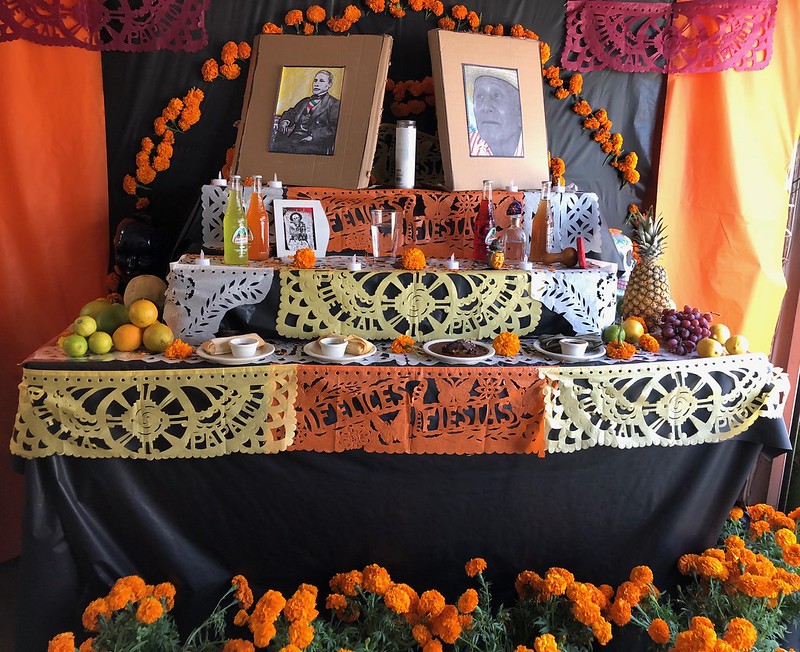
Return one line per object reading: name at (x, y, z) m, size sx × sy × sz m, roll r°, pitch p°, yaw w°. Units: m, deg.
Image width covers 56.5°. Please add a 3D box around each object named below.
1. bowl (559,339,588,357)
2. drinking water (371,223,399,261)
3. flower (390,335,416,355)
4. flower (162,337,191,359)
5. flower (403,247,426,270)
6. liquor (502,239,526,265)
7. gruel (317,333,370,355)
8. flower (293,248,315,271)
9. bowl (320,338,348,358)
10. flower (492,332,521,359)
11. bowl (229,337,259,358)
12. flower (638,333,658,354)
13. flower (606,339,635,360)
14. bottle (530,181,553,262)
bowl at (0.553, 0.058, 2.364) m, size 0.064 × 0.040 × 0.063 m, roll 2°, pitch 11°, yaw 0°
drinking water at (-0.052, -0.296, 2.622) m, size 0.113 × 0.134 × 0.117 m, roll 0°, pitch 4°, yaw 0°
flower at (0.009, 0.062, 2.377) m, size 0.057 × 0.034 × 0.059 m, roll 4°, pitch 25°, yaw 16°
flower at (-0.686, 0.068, 2.302) m, size 0.050 × 0.034 × 0.068 m, roll 1°, pitch 11°, yaw -2°
flower at (0.047, -0.223, 2.469) m, size 0.069 × 0.074 × 0.074 m, roll 4°, pitch 9°, yaw 14°
liquor at (0.404, -0.258, 2.610) m, size 0.089 × 0.100 × 0.091 m, roll 2°, pitch 7°, yaw 14°
gruel at (-0.162, 0.068, 2.337) m, size 0.100 × 0.035 × 0.083 m, roll 4°, pitch 8°, yaw -27°
flower at (-0.311, -0.222, 2.432) m, size 0.065 × 0.066 × 0.064 m, roll -8°, pitch 20°, yaw -29°
bowl at (-0.210, 0.067, 2.305) m, size 0.069 × 0.044 × 0.070 m, roll 2°, pitch 16°, yaw 0°
flower at (0.338, 0.060, 2.346) m, size 0.076 × 0.078 × 0.035 m, roll 3°, pitch -9°, yaw 6°
bowl at (-0.487, 0.062, 2.305) m, size 0.069 × 0.041 × 0.068 m, roll 1°, pitch 13°, yaw 0°
flower at (0.816, 0.058, 2.449) m, size 0.048 × 0.038 × 0.061 m, roll 3°, pitch 12°, yaw -3°
flower at (0.710, 0.074, 2.372) m, size 0.060 × 0.037 × 0.068 m, roll -3°, pitch 0°, yaw -25°
bottle at (0.496, -0.356, 2.589) m, size 0.072 × 0.257 × 0.131 m, roll 8°, pitch 25°, yaw 13°
